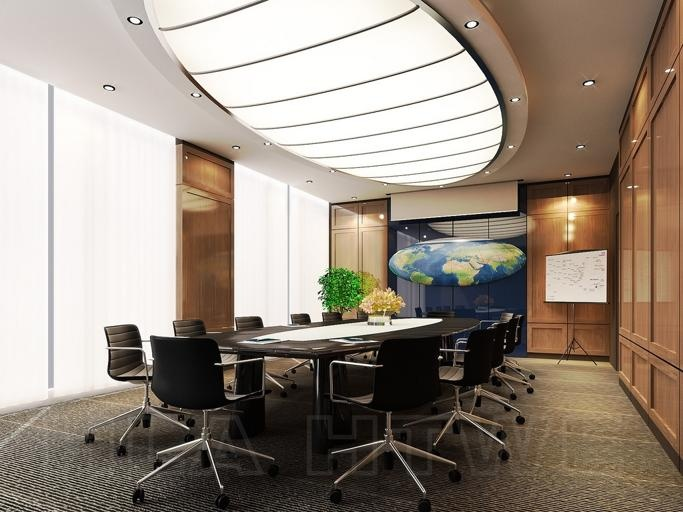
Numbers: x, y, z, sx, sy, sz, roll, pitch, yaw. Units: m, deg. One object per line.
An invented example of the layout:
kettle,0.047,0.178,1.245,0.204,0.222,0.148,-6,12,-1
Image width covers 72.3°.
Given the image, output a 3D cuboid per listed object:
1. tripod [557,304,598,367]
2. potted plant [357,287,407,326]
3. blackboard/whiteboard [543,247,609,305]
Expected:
tripod,4.894,1.582,9.674,0.668,1.296,0.383,0,0,23
potted plant,0.557,0.706,6.504,0.559,0.496,0.531,3,-9,1
blackboard/whiteboard,4.806,0.409,9.473,1.242,1.011,0.202,-3,-4,42
